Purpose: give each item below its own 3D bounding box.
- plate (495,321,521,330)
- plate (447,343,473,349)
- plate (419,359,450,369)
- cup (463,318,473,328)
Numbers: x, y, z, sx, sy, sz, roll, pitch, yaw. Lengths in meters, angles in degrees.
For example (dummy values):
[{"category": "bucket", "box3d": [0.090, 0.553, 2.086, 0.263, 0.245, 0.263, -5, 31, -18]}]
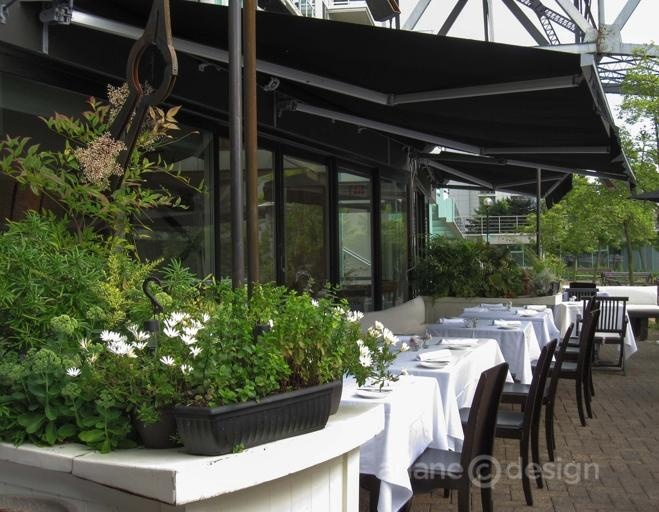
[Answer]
[{"category": "plate", "box3d": [1.928, 0.738, 6.224, 0.288, 0.067, 0.316, -1, -2, 6]}, {"category": "plate", "box3d": [1.133, 0.770, 4.966, 0.232, 0.031, 0.116, 0, -2, -16]}, {"category": "plate", "box3d": [0.754, 0.771, 4.171, 0.227, 0.038, 0.165, -1, -2, 9]}, {"category": "cup", "box3d": [1.542, 0.742, 6.394, 0.059, 0.079, 0.085, 0, -15, 10]}]
